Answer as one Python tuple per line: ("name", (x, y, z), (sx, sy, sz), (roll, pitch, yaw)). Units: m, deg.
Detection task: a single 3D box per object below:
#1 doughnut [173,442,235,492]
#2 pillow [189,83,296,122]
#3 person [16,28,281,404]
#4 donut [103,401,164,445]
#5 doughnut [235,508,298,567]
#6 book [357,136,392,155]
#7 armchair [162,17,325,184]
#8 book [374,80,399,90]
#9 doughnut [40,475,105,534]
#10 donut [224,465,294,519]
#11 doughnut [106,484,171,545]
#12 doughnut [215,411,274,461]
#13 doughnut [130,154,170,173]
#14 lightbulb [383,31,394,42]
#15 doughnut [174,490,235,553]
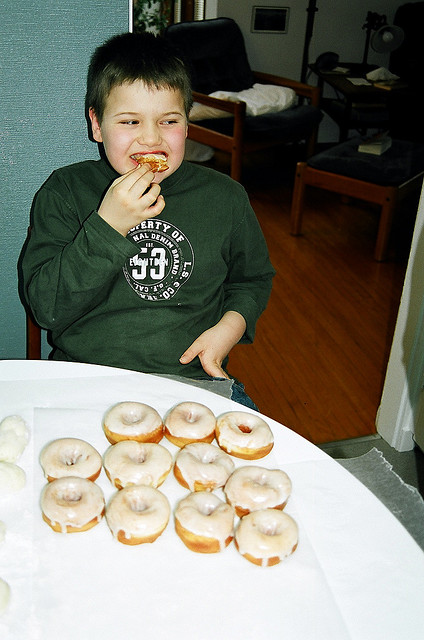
("doughnut", (-0.012, 0.187, 0.667), (0.078, 0.036, 0.074), (-12, 34, -27))
("pillow", (0.244, -1.633, 3.890), (0.472, 0.246, 0.919), (28, 37, 34))
("person", (-0.152, -0.188, 1.097), (0.551, 0.735, 0.452), (11, 30, 10))
("donut", (-0.112, 0.152, 0.726), (0.088, 0.035, 0.092), (7, 10, 21))
("doughnut", (0.061, 0.239, 0.569), (0.069, 0.027, 0.073), (2, 21, 6))
("book", (1.083, -1.172, 3.411), (0.187, 0.087, 0.330), (16, 32, 18))
("armchair", (0.244, -1.726, 4.092), (1.122, 1.085, 0.910), (26, 44, 33))
("book", (1.420, -1.913, 4.176), (0.135, 0.049, 0.347), (24, 34, 29))
("doughnut", (-0.158, 0.205, 0.581), (0.067, 0.037, 0.072), (-8, 32, -22))
("donut", (0.057, 0.215, 0.640), (0.090, 0.042, 0.088), (4, 14, 12))
("doughnut", (-0.086, 0.221, 0.584), (0.074, 0.030, 0.081), (8, 19, 6))
("doughnut", (0.048, 0.163, 0.730), (0.092, 0.035, 0.098), (9, 17, 3))
("doughnut", (-0.126, -0.318, 1.034), (0.058, 0.037, 0.073), (18, 32, 21))
("lightbulb", (1.490, -2.403, 4.353), (0.092, 0.078, 0.027), (7, 30, 3))
("doughnut", (-0.008, 0.228, 0.586), (0.071, 0.032, 0.088), (-4, 17, -22))
